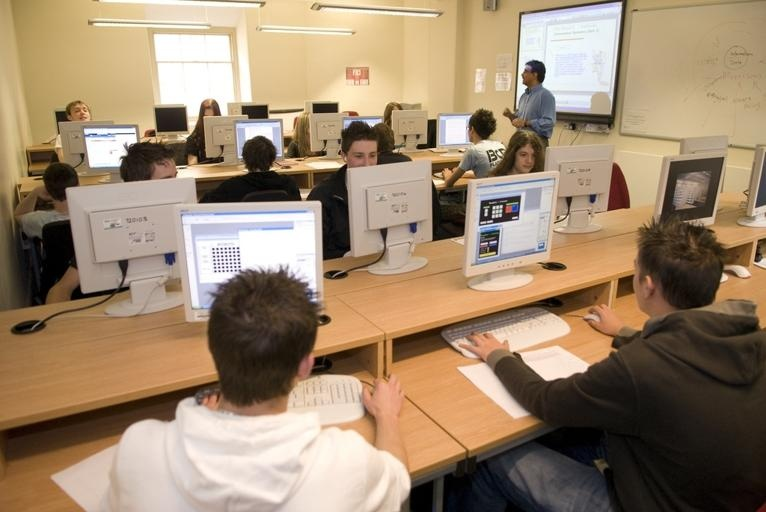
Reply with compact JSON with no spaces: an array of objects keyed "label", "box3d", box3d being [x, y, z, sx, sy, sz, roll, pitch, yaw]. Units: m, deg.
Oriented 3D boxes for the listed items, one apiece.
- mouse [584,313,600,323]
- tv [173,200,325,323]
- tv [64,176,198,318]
[{"label":"mouse","box3d":[1.135,0.333,2.812,0.048,0.013,0.041,12,25,42]},{"label":"tv","box3d":[-0.536,0.006,2.081,0.526,0.429,0.169,-2,21,-8]},{"label":"tv","box3d":[-1.177,-0.037,2.480,0.616,0.670,0.248,-10,34,-28]}]
